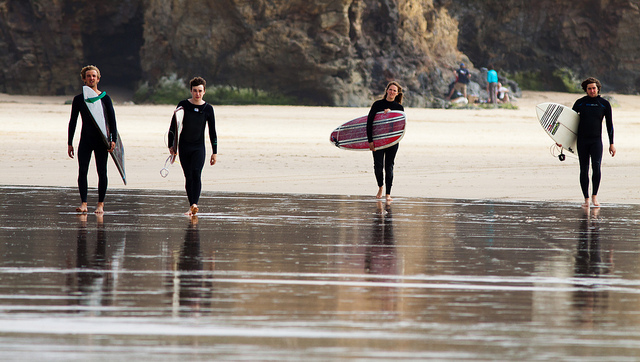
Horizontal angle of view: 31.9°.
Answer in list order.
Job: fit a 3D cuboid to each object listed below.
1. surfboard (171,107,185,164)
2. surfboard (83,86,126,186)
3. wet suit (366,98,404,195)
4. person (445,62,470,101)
[{"bbox_3d":[-4.816,-1.554,37.234,0.363,1.691,0.486,7,2,-42],"label":"surfboard"},{"bbox_3d":[-6.954,-1.640,37.424,0.446,3.796,0.894,-22,-5,-45],"label":"surfboard"},{"bbox_3d":[2.319,-1.226,39.275,1.179,3.384,0.508,3,-15,15],"label":"wet suit"},{"bbox_3d":[7.512,-5.269,60.638,1.061,1.058,2.342,24,55,26],"label":"person"}]
